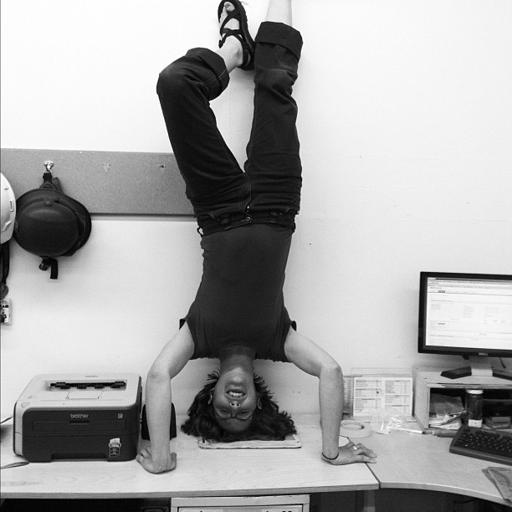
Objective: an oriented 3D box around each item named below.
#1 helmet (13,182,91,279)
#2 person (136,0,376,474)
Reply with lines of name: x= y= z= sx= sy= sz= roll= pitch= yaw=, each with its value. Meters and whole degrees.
helmet: x=-0.853 y=-0.130 z=2.615 sx=0.247 sy=0.367 sz=0.117 roll=1 pitch=19 yaw=-3
person: x=-0.047 y=-0.120 z=2.557 sx=0.780 sy=1.890 sz=0.402 roll=-1 pitch=6 yaw=-10
